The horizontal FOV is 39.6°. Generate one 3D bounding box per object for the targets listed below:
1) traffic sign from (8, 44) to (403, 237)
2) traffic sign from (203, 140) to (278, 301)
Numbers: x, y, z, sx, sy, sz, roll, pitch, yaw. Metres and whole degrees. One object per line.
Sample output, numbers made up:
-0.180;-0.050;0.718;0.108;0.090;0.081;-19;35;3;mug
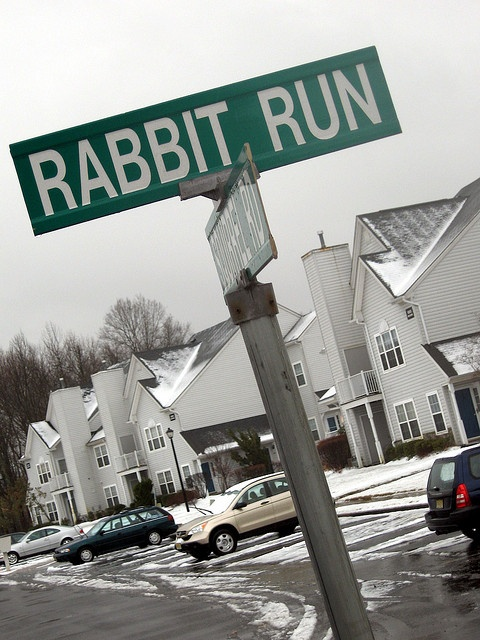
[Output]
-0.210;-0.797;3.112;1.464;0.402;0.046;-16;-15;-14;traffic sign
-0.009;-0.427;2.812;0.055;0.485;0.779;-9;-18;-18;traffic sign
